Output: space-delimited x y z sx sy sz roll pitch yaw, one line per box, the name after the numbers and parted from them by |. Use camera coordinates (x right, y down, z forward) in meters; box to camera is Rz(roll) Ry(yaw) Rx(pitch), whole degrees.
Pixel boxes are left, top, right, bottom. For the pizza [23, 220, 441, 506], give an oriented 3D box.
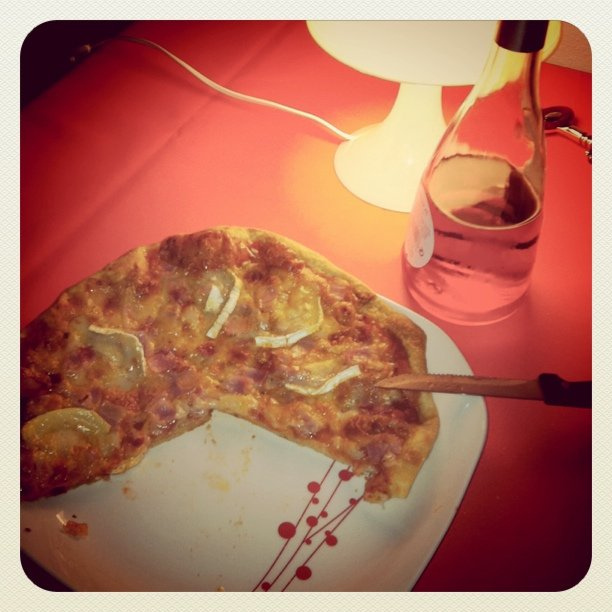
-0.117 0.062 0.786 0.590 0.064 0.309 -8 68 18 | pizza

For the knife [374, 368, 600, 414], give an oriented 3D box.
0.195 0.097 0.760 0.296 0.047 0.032 2 93 -5 | knife

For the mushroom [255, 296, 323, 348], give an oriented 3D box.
-0.018 0.017 0.734 0.071 0.013 0.039 -22 70 -10 | mushroom

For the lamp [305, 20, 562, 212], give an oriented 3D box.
0.113 -0.286 0.896 0.318 0.255 0.258 -2 55 -2 | lamp

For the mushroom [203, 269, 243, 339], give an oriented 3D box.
-0.105 -0.005 0.775 0.052 0.018 0.068 4 77 -4 | mushroom
